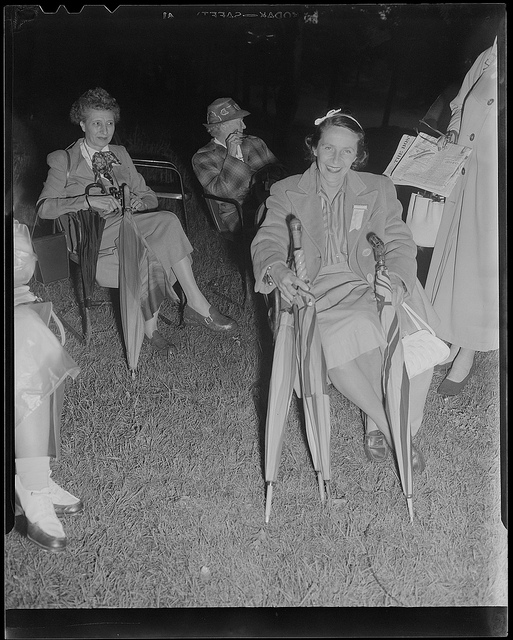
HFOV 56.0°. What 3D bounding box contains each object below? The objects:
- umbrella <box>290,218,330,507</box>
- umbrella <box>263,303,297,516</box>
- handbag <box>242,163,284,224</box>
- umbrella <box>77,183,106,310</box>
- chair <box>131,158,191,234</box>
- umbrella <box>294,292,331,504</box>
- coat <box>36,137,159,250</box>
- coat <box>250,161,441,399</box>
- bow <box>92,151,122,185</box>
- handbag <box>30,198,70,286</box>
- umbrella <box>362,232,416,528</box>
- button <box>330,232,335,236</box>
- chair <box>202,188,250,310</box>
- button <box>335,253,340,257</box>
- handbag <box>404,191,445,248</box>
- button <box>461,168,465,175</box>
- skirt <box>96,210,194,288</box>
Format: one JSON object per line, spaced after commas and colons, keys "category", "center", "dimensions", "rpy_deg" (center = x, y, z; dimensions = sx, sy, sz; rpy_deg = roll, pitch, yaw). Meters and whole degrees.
{"category": "umbrella", "center": [0.187, 0.141, 1.685], "dimensions": [0.093, 1.103, 0.117], "rpy_deg": [-4, -5, -14]}
{"category": "umbrella", "center": [0.082, 0.276, 1.685], "dimensions": [0.081, 0.759, 0.101], "rpy_deg": [3, -7, 5]}
{"category": "handbag", "center": [0.043, -0.498, 1.782], "dimensions": [0.099, 0.140, 0.177], "rpy_deg": [4, 55, 31]}
{"category": "umbrella", "center": [-0.588, -0.222, 1.738], "dimensions": [0.093, 0.279, 0.182], "rpy_deg": [-6, 30, -18]}
{"category": "chair", "center": [-0.349, -0.456, 1.829], "dimensions": [0.188, 0.359, 0.225], "rpy_deg": [-8, 43, -9]}
{"category": "umbrella", "center": [0.192, 0.266, 1.696], "dimensions": [0.099, 0.750, 0.113], "rpy_deg": [-3, 0, 4]}
{"category": "coat", "center": [-0.598, -0.469, 1.832], "dimensions": [0.399, 0.204, 0.417], "rpy_deg": [-17, 40, -21]}
{"category": "coat", "center": [0.215, -0.242, 1.883], "dimensions": [0.840, 0.765, 0.323], "rpy_deg": [19, 15, 6]}
{"category": "bow", "center": [-0.544, -0.554, 1.745], "dimensions": [0.066, 0.100, 0.030], "rpy_deg": [-28, 16, 6]}
{"category": "handbag", "center": [-0.742, -0.290, 1.736], "dimensions": [0.111, 0.337, 0.031], "rpy_deg": [-6, -13, -22]}
{"category": "umbrella", "center": [0.469, 0.154, 1.717], "dimensions": [0.101, 1.172, 0.106], "rpy_deg": [-9, 1, -18]}
{"category": "button", "center": [0.270, -0.311, 1.736], "dimensions": [0.012, 0.015, 0.003], "rpy_deg": [0, -1, -6]}
{"category": "chair", "center": [-0.108, -0.292, 1.757], "dimensions": [0.205, 0.422, 0.207], "rpy_deg": [7, 0, 6]}
{"category": "button", "center": [0.290, -0.233, 1.736], "dimensions": [0.010, 0.012, 0.003], "rpy_deg": [-1, -2, -2]}
{"category": "handbag", "center": [0.611, -0.377, 1.769], "dimensions": [0.084, 0.145, 0.132], "rpy_deg": [-3, 29, -32]}
{"category": "button", "center": [0.759, -0.547, 1.770], "dimensions": [0.003, 0.017, 0.016], "rpy_deg": [6, 36, 11]}
{"category": "skirt", "center": [-0.415, -0.280, 1.788], "dimensions": [0.276, 0.292, 0.106], "rpy_deg": [-2, 7, 1]}
